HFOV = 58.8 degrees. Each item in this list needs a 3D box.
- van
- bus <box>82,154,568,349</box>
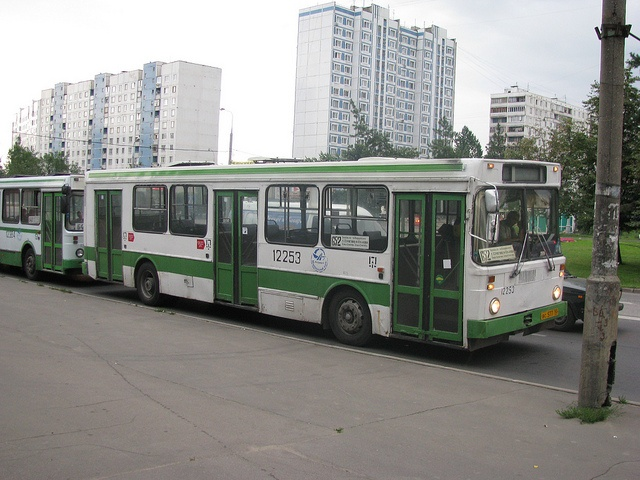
[{"bbox_3d":[0.030,-0.351,11.277,2.936,0.895,0.781,0,2,39],"label":"van"},{"bbox_3d":[-0.966,0.037,13.419,12.339,3.635,2.813,5,4,37],"label":"bus"}]
